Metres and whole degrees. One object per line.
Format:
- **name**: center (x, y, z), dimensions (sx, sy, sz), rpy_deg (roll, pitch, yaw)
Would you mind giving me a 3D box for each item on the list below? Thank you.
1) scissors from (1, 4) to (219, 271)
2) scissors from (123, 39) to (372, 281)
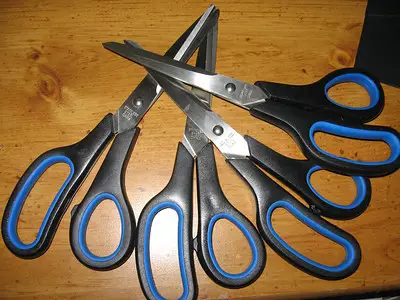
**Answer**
- **scissors**: center (-0.232, -0.048, 1.171), dimensions (0.347, 0.963, 0.049), rpy_deg (34, -13, 9)
- **scissors**: center (0.122, 0.028, 0.951), dimensions (0.268, 0.725, 0.035), rpy_deg (-42, -9, -6)
